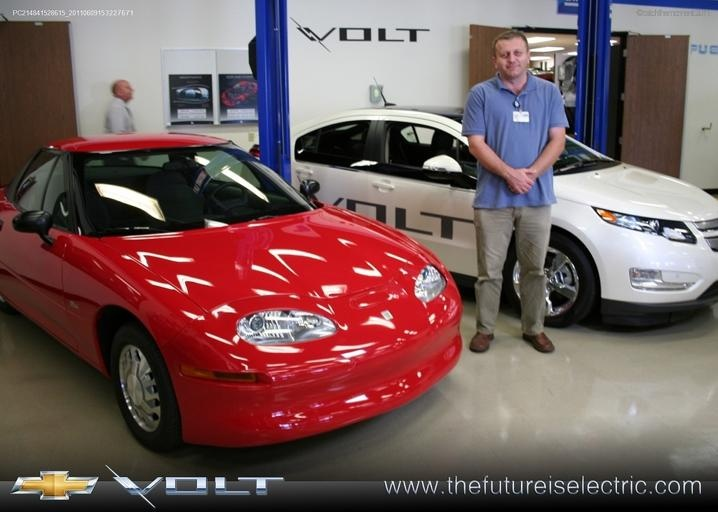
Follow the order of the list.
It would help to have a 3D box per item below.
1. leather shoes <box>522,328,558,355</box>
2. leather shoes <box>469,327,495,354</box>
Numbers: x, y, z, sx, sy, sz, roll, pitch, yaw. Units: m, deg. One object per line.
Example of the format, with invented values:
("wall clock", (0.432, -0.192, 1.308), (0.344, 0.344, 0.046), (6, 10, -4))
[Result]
("leather shoes", (1.267, 0.595, 3.177), (0.096, 0.108, 0.262), (-10, 16, -24))
("leather shoes", (0.846, 0.589, 3.119), (0.091, 0.092, 0.217), (4, 8, 26))
